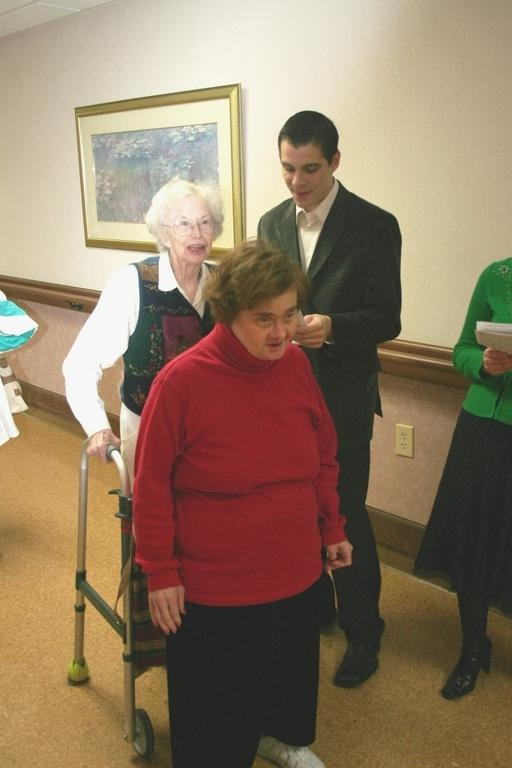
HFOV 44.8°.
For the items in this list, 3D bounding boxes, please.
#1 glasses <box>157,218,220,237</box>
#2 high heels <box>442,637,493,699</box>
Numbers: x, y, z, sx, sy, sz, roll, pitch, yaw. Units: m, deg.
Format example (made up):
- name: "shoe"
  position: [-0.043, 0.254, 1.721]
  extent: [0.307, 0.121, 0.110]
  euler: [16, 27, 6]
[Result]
- name: "glasses"
  position: [-0.165, -0.375, 1.472]
  extent: [0.121, 0.047, 0.055]
  euler: [-4, 16, -10]
- name: "high heels"
  position: [0.643, 0.864, 1.883]
  extent: [0.106, 0.171, 0.055]
  euler: [41, 0, -22]
